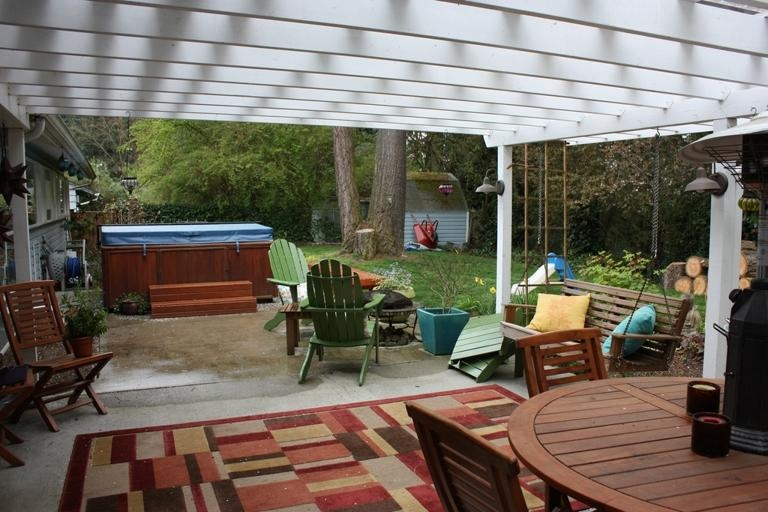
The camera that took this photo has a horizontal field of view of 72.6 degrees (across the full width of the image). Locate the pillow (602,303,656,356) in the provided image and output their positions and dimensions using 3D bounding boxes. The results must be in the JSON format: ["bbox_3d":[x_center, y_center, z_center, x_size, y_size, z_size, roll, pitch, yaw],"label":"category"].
[{"bbox_3d":[2.633,0.681,5.460,0.302,0.331,0.507,17,26,20],"label":"pillow"}]

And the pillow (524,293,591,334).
[{"bbox_3d":[2.035,0.661,6.000,0.297,0.420,0.650,-4,2,-37],"label":"pillow"}]

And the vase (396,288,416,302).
[{"bbox_3d":[0.399,0.684,8.807,0.338,0.111,0.353,3,5,4],"label":"vase"}]

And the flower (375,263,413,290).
[{"bbox_3d":[0.241,0.461,11.401,0.672,0.383,0.620,3,2,12],"label":"flower"}]

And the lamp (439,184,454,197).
[{"bbox_3d":[2.433,-2.587,20.387,0.500,0.361,0.489,5,9,29],"label":"lamp"}]

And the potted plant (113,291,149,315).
[{"bbox_3d":[-4.352,0.830,8.999,0.491,0.272,0.439,0,6,-18],"label":"potted plant"}]

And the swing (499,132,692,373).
[{"bbox_3d":[2.054,0.008,6.090,1.152,2.175,2.538,-6,4,-17],"label":"swing"}]

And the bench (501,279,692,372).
[{"bbox_3d":[2.241,0.906,5.862,0.939,1.065,1.916,3,2,-19],"label":"bench"}]

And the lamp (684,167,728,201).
[{"bbox_3d":[3.045,-0.697,4.947,0.431,0.241,0.299,7,-3,-8],"label":"lamp"}]

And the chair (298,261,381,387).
[{"bbox_3d":[-0.505,0.775,6.296,1.040,1.132,1.440,-3,-6,9],"label":"chair"}]
